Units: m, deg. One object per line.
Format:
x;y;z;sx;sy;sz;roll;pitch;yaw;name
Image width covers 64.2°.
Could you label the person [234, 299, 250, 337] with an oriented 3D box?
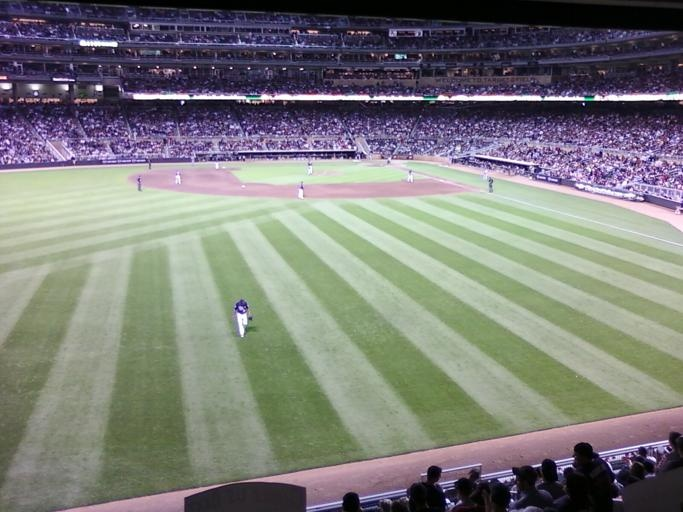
-3.196;1.984;17.571;0.411;1.174;0.604;-6;13;-16;person
